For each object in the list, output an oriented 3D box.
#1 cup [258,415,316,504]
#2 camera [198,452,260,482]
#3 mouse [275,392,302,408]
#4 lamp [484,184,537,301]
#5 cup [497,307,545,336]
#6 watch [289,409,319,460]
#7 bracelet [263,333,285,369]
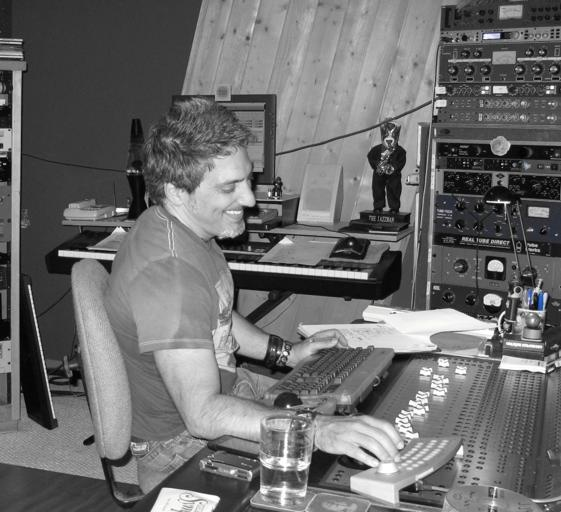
[{"bbox_3d":[0.007,0.292,0.799,0.095,0.142,0.091,2,-24,1],"label":"cup"},{"bbox_3d":[-0.079,0.332,0.867,0.097,0.016,0.050,5,10,20],"label":"camera"},{"bbox_3d":[0.014,0.257,0.967,0.039,0.017,0.039,1,14,3],"label":"mouse"},{"bbox_3d":[0.899,-0.067,2.141,0.234,0.411,0.302,5,10,23],"label":"lamp"},{"bbox_3d":[0.658,0.184,1.473,0.089,0.052,0.121,-1,8,7],"label":"cup"},{"bbox_3d":[0.046,0.293,0.915,0.064,0.071,0.073,0,11,4],"label":"watch"},{"bbox_3d":[-0.028,0.301,1.716,0.042,0.086,0.073,14,1,-11],"label":"bracelet"}]
